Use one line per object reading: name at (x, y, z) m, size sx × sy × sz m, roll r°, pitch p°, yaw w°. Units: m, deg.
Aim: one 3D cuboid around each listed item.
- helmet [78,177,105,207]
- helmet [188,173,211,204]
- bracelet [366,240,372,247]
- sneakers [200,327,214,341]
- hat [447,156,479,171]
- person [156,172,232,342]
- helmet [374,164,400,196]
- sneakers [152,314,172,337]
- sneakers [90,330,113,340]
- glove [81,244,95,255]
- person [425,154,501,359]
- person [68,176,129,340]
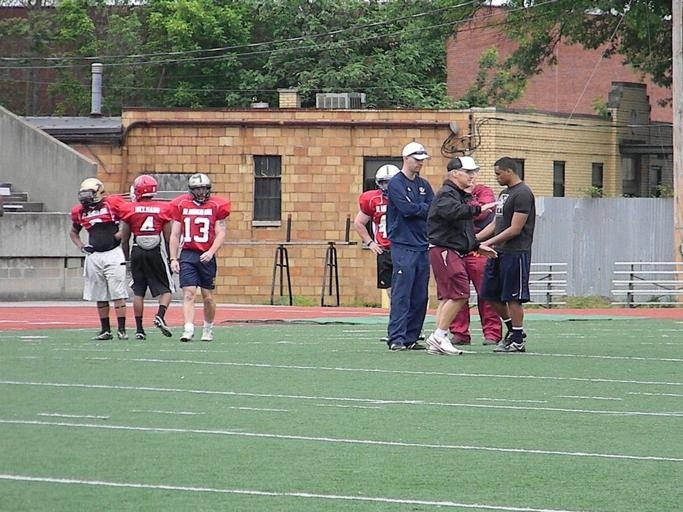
helmet at (-4.095, -1.027, 21.946) m, size 0.431 × 0.416 × 0.525 m, roll 0°, pitch 0°, yaw 25°
helmet at (-2.250, -1.068, 21.359) m, size 0.311 × 0.459 × 0.322 m, roll -1°, pitch -1°, yaw -9°
bracelet at (0.436, -0.214, 21.914) m, size 0.130 × 0.050 × 0.145 m, roll 0°, pitch -8°, yaw -2°
sneakers at (-2.174, 1.268, 21.746) m, size 0.237 × 0.214 × 0.570 m, roll 1°, pitch -4°, yaw -5°
hat at (1.739, -1.352, 19.714) m, size 0.383 × 0.148 × 0.256 m, roll 0°, pitch 4°, yaw 16°
person at (-2.265, 0.016, 21.390) m, size 0.948 × 2.684 × 0.618 m, roll -1°, pitch -1°, yaw -7°
helmet at (0.702, -1.275, 21.976) m, size 0.442 × 0.345 × 0.474 m, roll -1°, pitch 4°, yaw -4°
sneakers at (-3.036, 1.196, 22.756) m, size 0.203 × 0.402 × 0.143 m, roll -46°, pitch 8°, yaw -39°
sneakers at (-3.883, 1.292, 21.733) m, size 0.376 × 0.126 × 0.113 m, roll 1°, pitch 4°, yaw 6°
glove at (-4.056, -0.117, 21.592) m, size 0.161 × 0.084 × 0.208 m, roll 23°, pitch -27°, yaw -18°
person at (1.723, -0.008, 19.829) m, size 0.978 × 2.901 × 1.048 m, roll -1°, pitch -1°, yaw 7°
person at (-3.912, 0.053, 21.812) m, size 0.844 × 2.615 × 0.694 m, roll -1°, pitch -1°, yaw -9°
